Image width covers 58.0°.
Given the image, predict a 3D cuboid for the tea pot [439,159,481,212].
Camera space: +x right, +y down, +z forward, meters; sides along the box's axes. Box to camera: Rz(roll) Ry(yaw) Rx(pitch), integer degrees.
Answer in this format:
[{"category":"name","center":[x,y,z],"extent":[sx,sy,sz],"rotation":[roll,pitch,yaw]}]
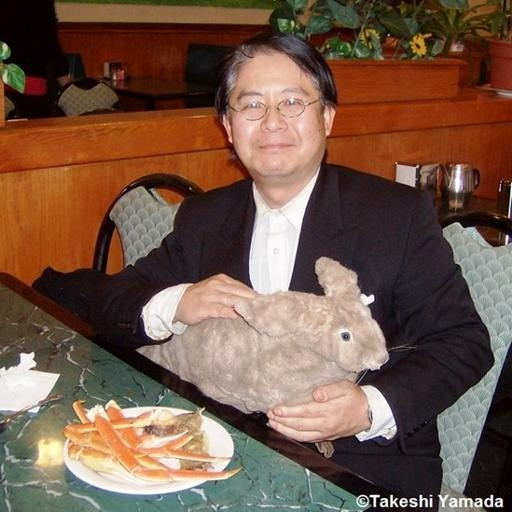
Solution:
[{"category":"tea pot","center":[0.914,-0.321,2.128],"extent":[0.219,0.177,0.146],"rotation":[2,12,10]}]

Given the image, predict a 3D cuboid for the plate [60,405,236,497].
[{"category":"plate","center":[-0.137,0.244,0.573],"extent":[0.140,0.025,0.105],"rotation":[6,11,16]}]
